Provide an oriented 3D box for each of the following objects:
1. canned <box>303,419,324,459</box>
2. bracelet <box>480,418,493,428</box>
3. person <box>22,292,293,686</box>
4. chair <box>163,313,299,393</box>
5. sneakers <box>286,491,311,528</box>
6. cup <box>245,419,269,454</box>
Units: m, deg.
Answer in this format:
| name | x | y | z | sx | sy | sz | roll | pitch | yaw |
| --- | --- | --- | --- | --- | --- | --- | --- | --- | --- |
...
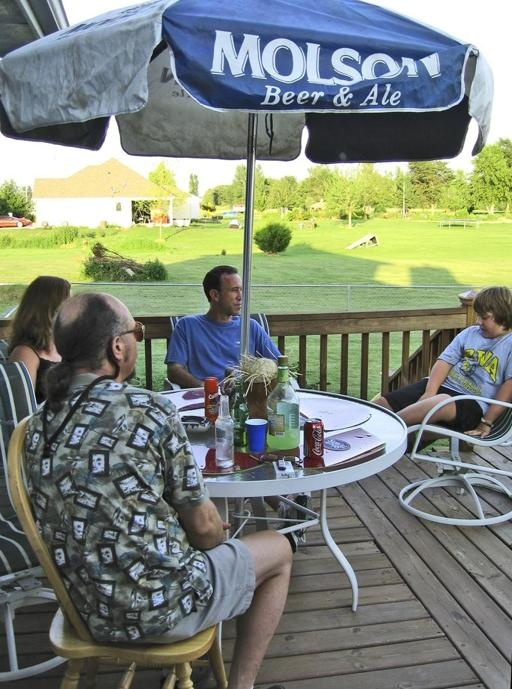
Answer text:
| name | x | y | z | sx | sy | sz | roll | pitch | yaw |
| --- | --- | --- | --- | --- | --- | --- | --- | --- | --- |
| canned | 0.175 | 0.285 | 1.806 | 0.058 | 0.114 | 0.048 | 0 | 10 | 4 |
| bracelet | 1.215 | 0.415 | 3.141 | 0.047 | 0.018 | 0.045 | 27 | 19 | -17 |
| person | -0.216 | 0.387 | 1.433 | 0.557 | 1.020 | 0.315 | -11 | 14 | -44 |
| chair | -0.172 | 0.022 | 3.445 | 0.675 | 0.374 | 0.293 | -1 | 4 | 6 |
| sneakers | 0.182 | 0.701 | 2.547 | 0.069 | 0.188 | 0.084 | 4 | 7 | -5 |
| cup | 0.003 | 0.284 | 1.861 | 0.098 | 0.102 | 0.095 | -2 | 3 | 0 |
